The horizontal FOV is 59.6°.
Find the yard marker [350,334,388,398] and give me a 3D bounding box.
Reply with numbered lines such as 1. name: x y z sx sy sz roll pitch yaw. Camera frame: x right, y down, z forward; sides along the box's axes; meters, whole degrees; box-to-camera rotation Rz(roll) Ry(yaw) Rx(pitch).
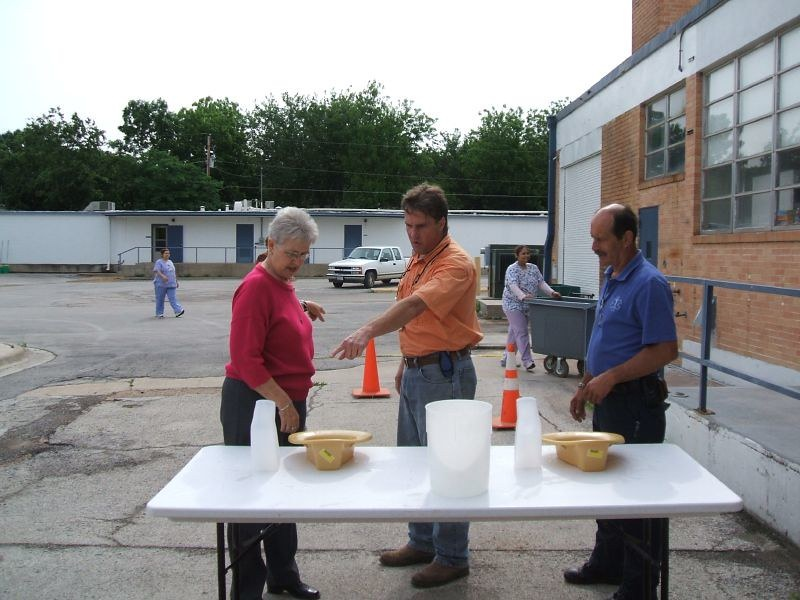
1. yard marker: -0.395 0.919 9.041 0.447 0.911 0.434 0 1 -14

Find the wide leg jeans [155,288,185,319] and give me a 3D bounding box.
1. wide leg jeans: -5.788 0.055 17.581 0.502 0.753 0.884 -1 3 3

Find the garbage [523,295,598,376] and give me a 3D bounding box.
1. garbage: 2.233 0.548 9.727 0.866 1.124 0.884 11 9 7

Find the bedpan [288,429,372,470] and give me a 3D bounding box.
1. bedpan: -0.391 0.873 4.056 0.478 0.183 0.344 -1 1 -1

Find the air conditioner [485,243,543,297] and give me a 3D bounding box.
1. air conditioner: 3.249 -0.931 19.196 1.439 1.925 1.667 3 7 -7

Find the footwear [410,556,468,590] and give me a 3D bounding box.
1. footwear: 0.265 1.830 4.698 0.372 0.163 0.149 0 -4 -16

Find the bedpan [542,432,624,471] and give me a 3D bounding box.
1. bedpan: 1.034 0.833 4.076 0.419 0.185 0.514 -1 3 -32

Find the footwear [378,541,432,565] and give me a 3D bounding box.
1. footwear: 0.042 1.782 4.945 0.367 0.165 0.146 1 -4 -3

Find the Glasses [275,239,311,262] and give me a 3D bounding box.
1. Glasses: -0.702 -0.330 4.512 0.146 0.081 0.172 4 8 -34
